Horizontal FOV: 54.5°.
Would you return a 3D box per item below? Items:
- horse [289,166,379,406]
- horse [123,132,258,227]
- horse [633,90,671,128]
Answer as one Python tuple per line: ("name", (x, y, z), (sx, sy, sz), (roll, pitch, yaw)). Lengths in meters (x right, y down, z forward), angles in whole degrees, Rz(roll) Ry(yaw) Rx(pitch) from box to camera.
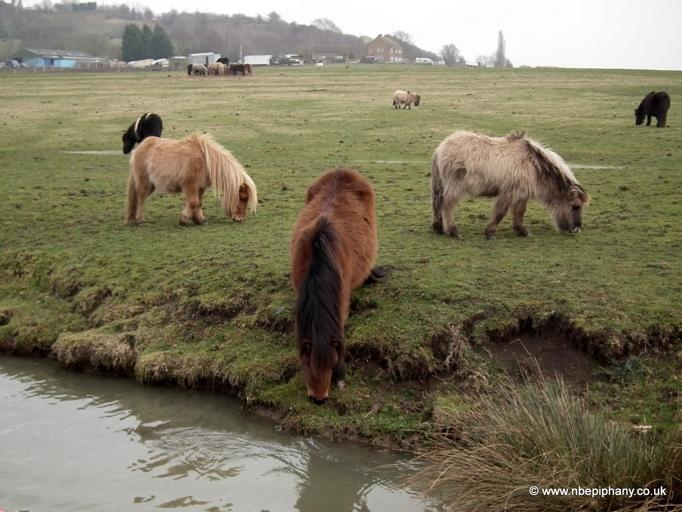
("horse", (0.285, 0.163, 9.580), (1.044, 3.777, 1.947), (-3, -27, 9))
("horse", (-3.266, -1.564, 14.355), (3.044, 2.019, 1.018), (4, 3, 10))
("horse", (12.575, -5.914, 26.856), (1.106, 1.378, 2.108), (5, 12, 22))
